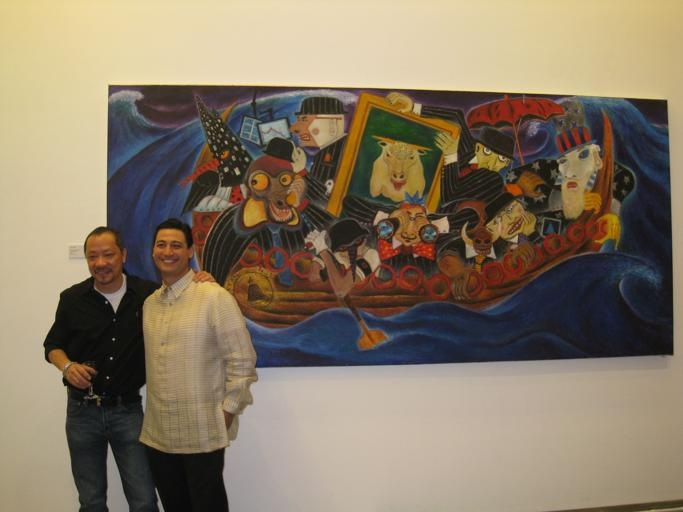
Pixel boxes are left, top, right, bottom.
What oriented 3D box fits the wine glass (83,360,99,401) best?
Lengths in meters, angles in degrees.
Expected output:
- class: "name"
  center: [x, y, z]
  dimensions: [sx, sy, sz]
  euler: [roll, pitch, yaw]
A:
- class: "wine glass"
  center: [-1.460, 0.728, 3.845]
  dimensions: [0.064, 0.235, 0.096]
  euler: [-3, -2, -23]
